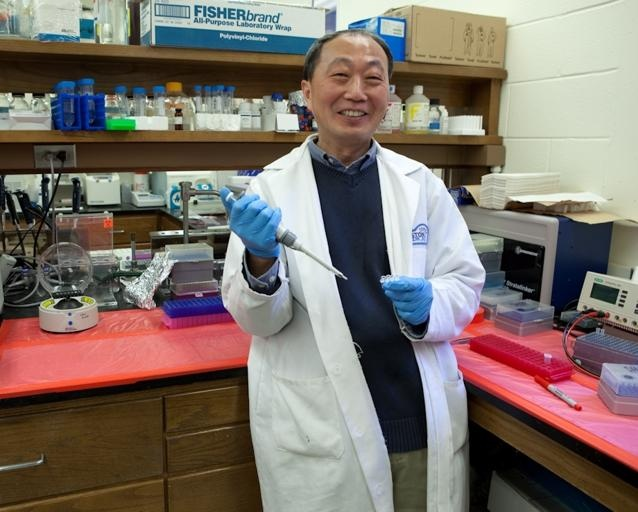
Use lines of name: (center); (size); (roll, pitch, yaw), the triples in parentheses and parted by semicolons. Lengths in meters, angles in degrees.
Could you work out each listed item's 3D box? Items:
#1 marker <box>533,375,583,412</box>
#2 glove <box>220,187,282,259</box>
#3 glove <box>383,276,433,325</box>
marker: (0.726, 0.419, 1.488); (0.026, 0.024, 0.168); (-4, 18, -22)
glove: (-0.171, -0.071, 1.206); (0.153, 0.179, 0.115); (-1, 14, 1)
glove: (0.242, 0.126, 1.314); (0.150, 0.146, 0.059); (-4, 15, -9)
